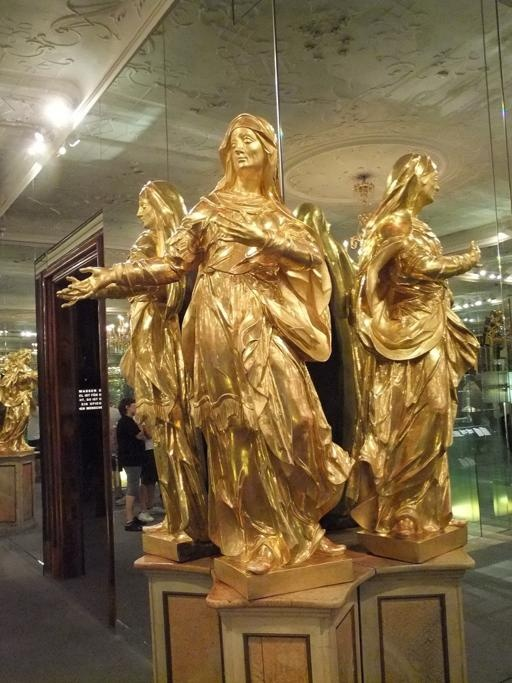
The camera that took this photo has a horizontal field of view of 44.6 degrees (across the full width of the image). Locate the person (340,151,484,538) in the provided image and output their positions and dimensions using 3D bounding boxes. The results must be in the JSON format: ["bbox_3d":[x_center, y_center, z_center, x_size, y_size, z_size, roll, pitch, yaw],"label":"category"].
[{"bbox_3d":[0.670,-0.010,2.821,0.672,1.738,0.338,-9,-1,-24],"label":"person"}]

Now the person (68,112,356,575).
[{"bbox_3d":[-0.098,-0.033,2.354,0.759,1.694,0.396,-9,-2,-34],"label":"person"}]
